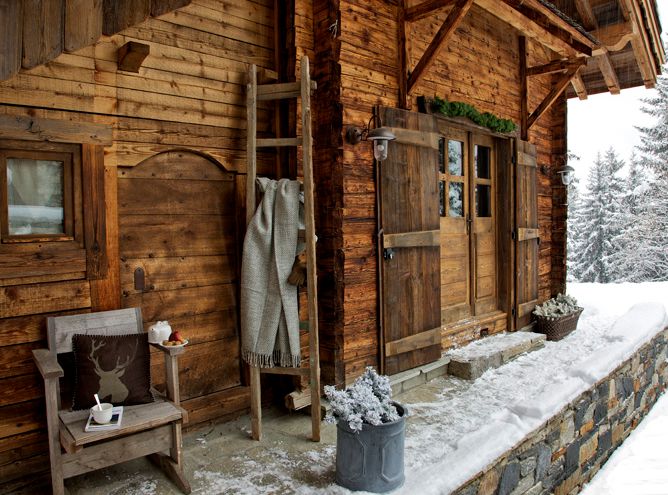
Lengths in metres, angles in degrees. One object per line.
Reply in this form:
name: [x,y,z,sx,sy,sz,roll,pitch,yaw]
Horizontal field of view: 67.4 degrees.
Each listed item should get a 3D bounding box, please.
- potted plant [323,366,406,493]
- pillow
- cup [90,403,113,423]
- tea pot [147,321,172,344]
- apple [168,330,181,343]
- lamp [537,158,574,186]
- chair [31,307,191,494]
potted plant: [0.117,1.284,3.571,0.551,0.703,0.655,1,-4,-14]
pillow: [-1.512,0.842,3.353,0.454,0.484,0.163,-1,-15,-24]
cup: [-1.444,1.029,3.101,0.127,0.099,0.108,-3,0,39]
tea pot: [-1.251,0.606,3.606,0.137,0.143,0.154,2,-1,12]
apple: [-1.131,0.635,3.551,0.069,0.089,0.067,0,-19,-7]
lamp: [3.279,-1.126,7.525,0.420,0.290,0.599,0,-1,-32]
chair: [-1.453,1.041,3.347,0.910,1.123,0.788,-7,14,-31]
